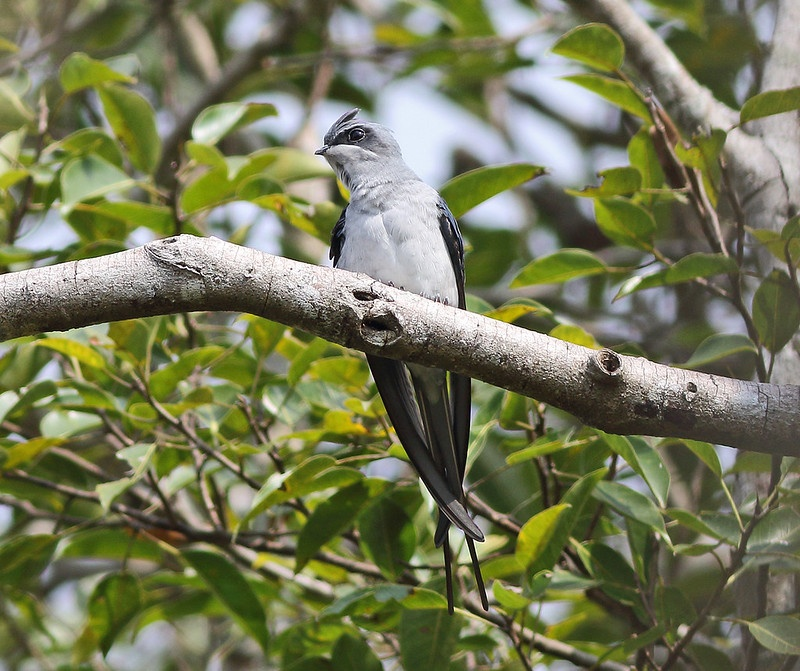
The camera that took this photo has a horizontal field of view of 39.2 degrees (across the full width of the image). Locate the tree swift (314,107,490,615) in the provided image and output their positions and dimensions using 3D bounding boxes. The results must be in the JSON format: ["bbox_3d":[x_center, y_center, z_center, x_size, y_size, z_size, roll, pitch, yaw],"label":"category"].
[{"bbox_3d":[0.299,0.094,6.611,1.133,3.245,0.893,13,33,35],"label":"tree swift"}]
